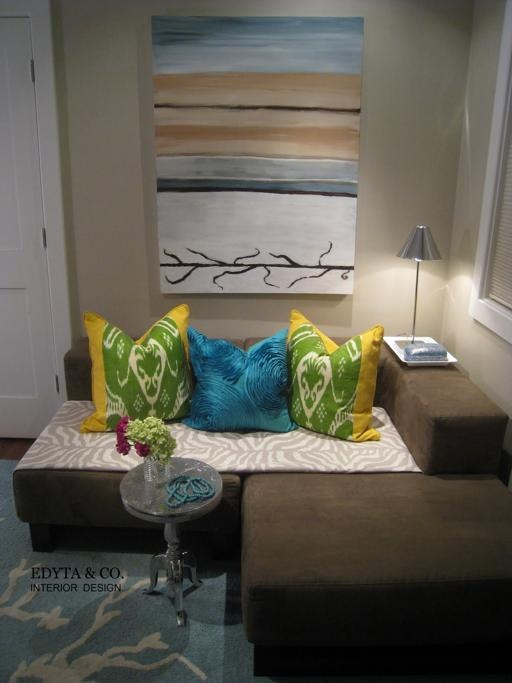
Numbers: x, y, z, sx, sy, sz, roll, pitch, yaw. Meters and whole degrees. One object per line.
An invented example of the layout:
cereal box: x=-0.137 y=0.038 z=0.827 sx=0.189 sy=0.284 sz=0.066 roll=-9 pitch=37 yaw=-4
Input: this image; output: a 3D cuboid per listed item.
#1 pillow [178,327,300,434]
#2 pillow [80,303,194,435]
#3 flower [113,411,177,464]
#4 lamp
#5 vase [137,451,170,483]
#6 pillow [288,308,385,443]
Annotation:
pillow: x=-0.070 y=0.020 z=2.295 sx=0.584 sy=0.638 sz=0.327 roll=0 pitch=9 yaw=-1
pillow: x=-0.480 y=0.113 z=2.302 sx=0.490 sy=0.525 sz=0.246 roll=-7 pitch=9 yaw=-30
flower: x=-0.336 y=0.272 z=1.686 sx=0.142 sy=0.187 sz=0.148 roll=1 pitch=4 yaw=17
lamp: x=0.761 y=-0.252 z=2.535 sx=0.180 sy=0.560 sz=0.454 roll=4 pitch=13 yaw=18
vase: x=-0.319 y=0.400 z=1.695 sx=0.082 sy=0.100 sz=0.087 roll=0 pitch=11 yaw=3
pillow: x=0.298 y=0.129 z=2.236 sx=0.448 sy=0.509 sz=0.246 roll=11 pitch=16 yaw=31
